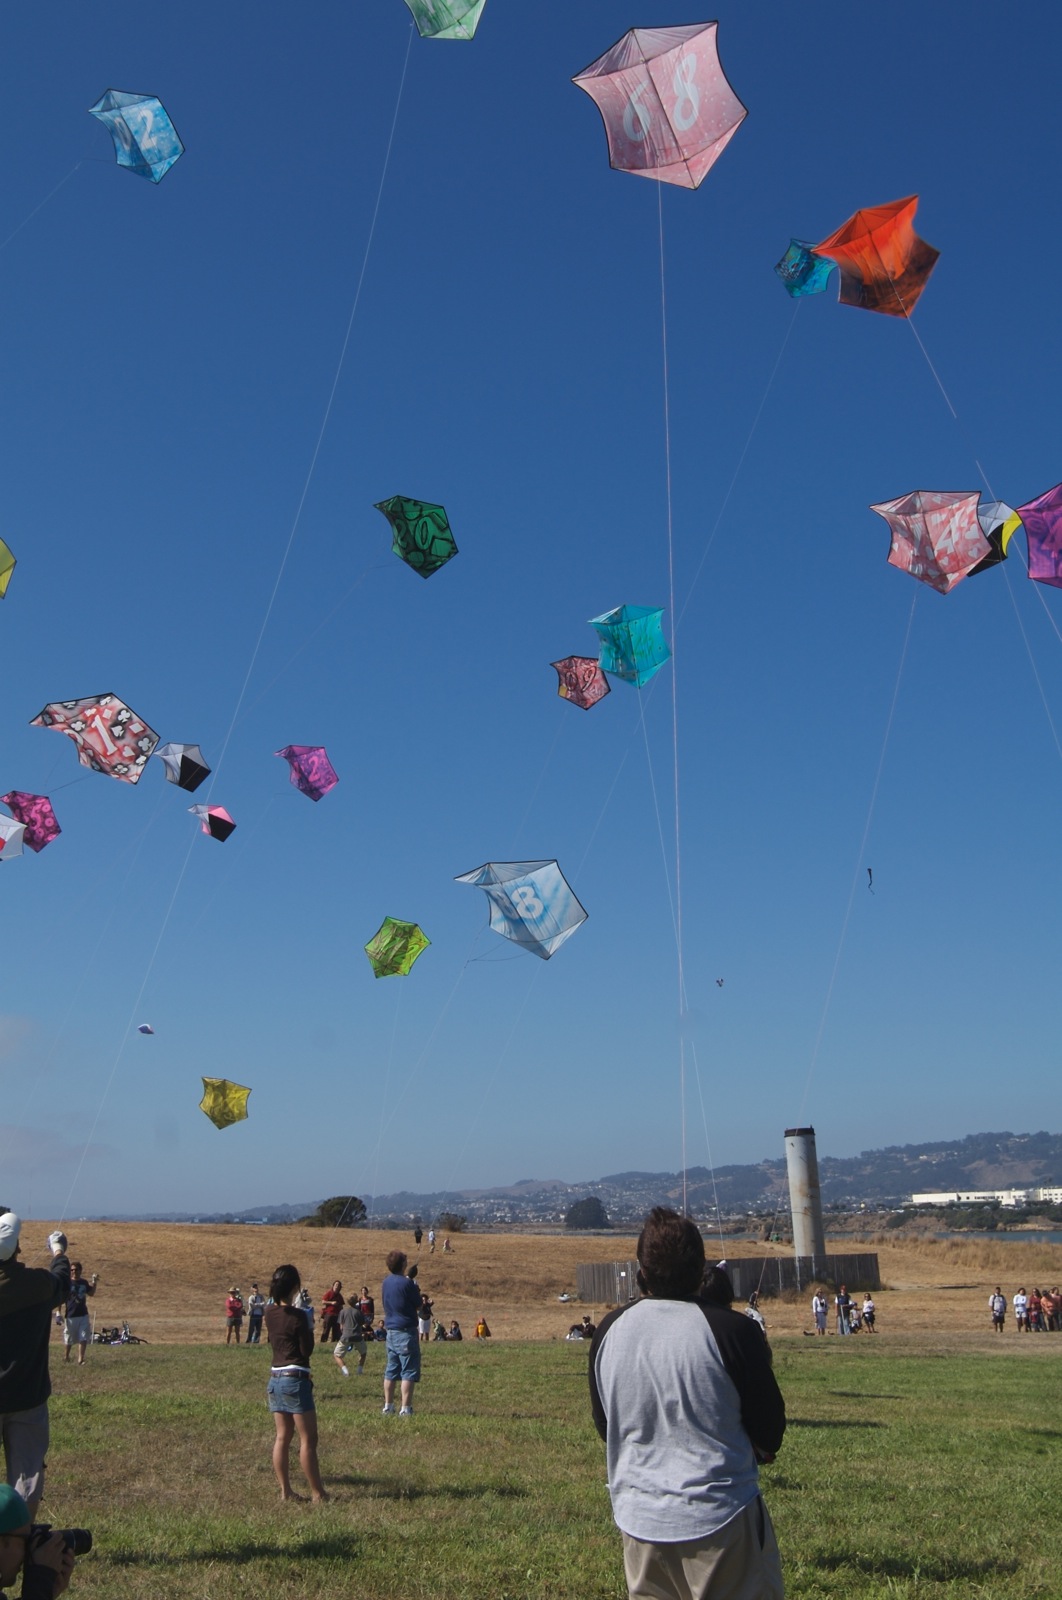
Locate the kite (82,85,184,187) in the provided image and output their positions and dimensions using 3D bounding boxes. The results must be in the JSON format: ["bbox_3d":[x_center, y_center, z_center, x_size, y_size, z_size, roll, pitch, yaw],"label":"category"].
[{"bbox_3d":[-3.908,-6.435,14.402,0.772,1.011,0.845,1,-17,-17],"label":"kite"}]

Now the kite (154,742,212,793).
[{"bbox_3d":[-3.807,-0.383,15.952,0.517,0.324,0.298,19,-1,-15],"label":"kite"}]

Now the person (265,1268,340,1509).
[{"bbox_3d":[-1.513,3.720,9.326,0.363,1.422,1.038,-1,-16,-10],"label":"person"}]

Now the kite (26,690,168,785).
[{"bbox_3d":[-5.054,-0.809,17.170,1.477,0.342,1.247,6,-55,-31],"label":"kite"}]

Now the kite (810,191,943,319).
[{"bbox_3d":[3.516,-5.409,14.624,0.984,0.527,1.454,-10,-17,20],"label":"kite"}]

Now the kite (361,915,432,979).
[{"bbox_3d":[-2.353,2.613,25.337,0.835,0.897,1.073,1,-17,-18],"label":"kite"}]

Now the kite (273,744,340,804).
[{"bbox_3d":[-3.517,-0.388,23.304,0.537,0.596,0.881,-6,-16,6],"label":"kite"}]

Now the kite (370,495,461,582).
[{"bbox_3d":[-1.396,-3.247,18.432,0.739,0.617,1.189,-6,-16,6],"label":"kite"}]

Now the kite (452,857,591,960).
[{"bbox_3d":[-0.020,1.508,20.064,1.250,1.175,0.939,-7,-16,12],"label":"kite"}]

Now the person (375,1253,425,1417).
[{"bbox_3d":[-1.158,4.847,13.282,0.381,1.380,0.432,-13,-20,29],"label":"person"}]

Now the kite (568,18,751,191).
[{"bbox_3d":[1.450,-5.881,12.638,1.691,0.754,1.628,24,-30,37],"label":"kite"}]

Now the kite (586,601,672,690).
[{"bbox_3d":[1.471,-2.160,21.179,0.919,0.881,1.166,-5,-16,4],"label":"kite"}]
